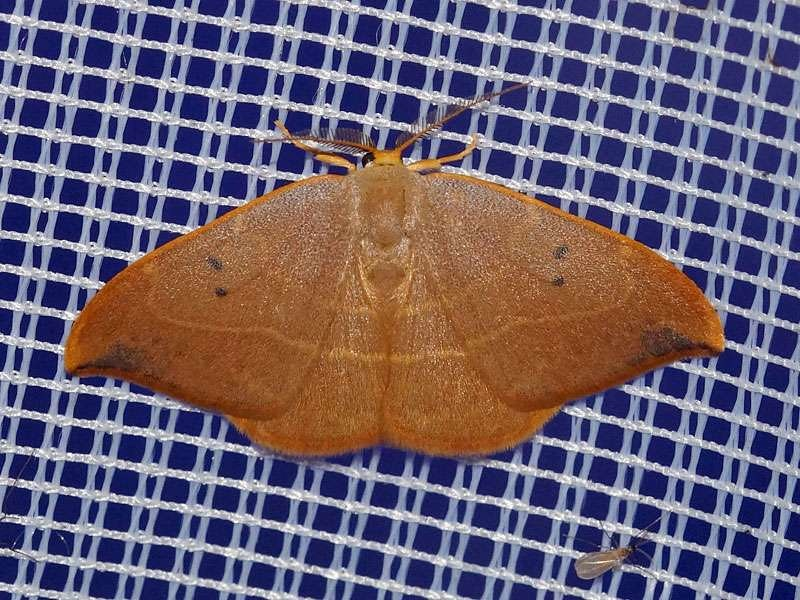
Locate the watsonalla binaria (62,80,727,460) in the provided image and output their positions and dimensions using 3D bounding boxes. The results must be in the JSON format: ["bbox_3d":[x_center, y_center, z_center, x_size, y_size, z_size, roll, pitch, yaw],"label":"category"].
[{"bbox_3d":[-0.034,0.026,5.796,2.481,0.354,1.201,1,83,-2],"label":"watsonalla binaria"}]
